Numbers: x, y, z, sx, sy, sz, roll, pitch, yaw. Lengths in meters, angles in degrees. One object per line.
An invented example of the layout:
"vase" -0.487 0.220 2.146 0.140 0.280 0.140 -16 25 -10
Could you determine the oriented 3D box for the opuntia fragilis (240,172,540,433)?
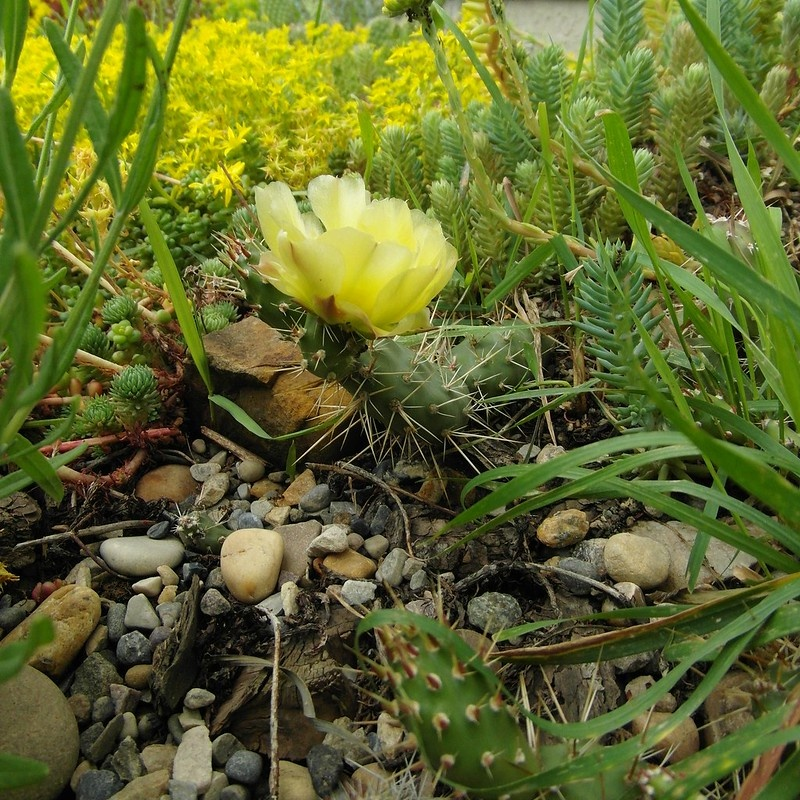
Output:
"opuntia fragilis" -0.071 -0.148 0.991 0.236 0.132 0.353 11 6 -20
